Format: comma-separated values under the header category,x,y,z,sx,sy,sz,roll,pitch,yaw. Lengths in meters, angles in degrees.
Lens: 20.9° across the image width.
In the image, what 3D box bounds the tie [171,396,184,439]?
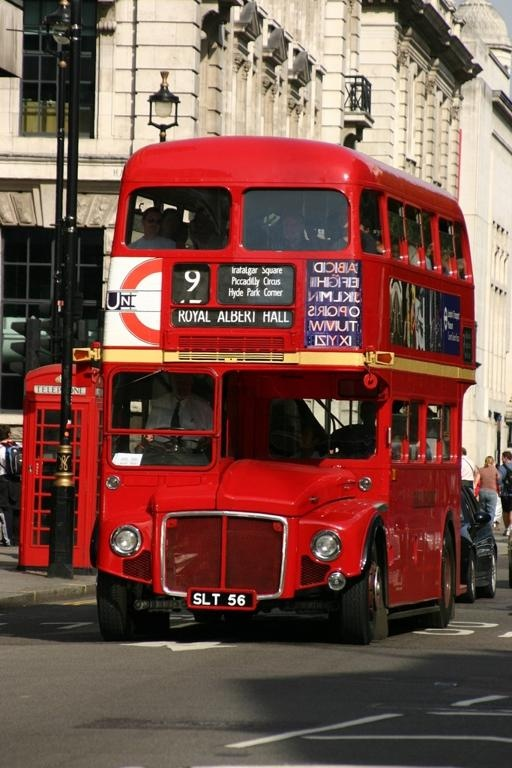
category,x,y,z,sx,sy,sz,roll,pitch,yaw
tie,-0.601,0.230,10.350,0.078,0.231,0.038,1,-2,-11

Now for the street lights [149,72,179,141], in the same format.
category,x,y,z,sx,sy,sz,roll,pitch,yaw
street lights,-1.428,-4.171,21.217,0.466,1.245,0.441,-3,10,-30

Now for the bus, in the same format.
category,x,y,z,sx,sy,sz,roll,pitch,yaw
bus,0.652,0.059,12.001,1.846,4.029,4.547,0,-1,23
